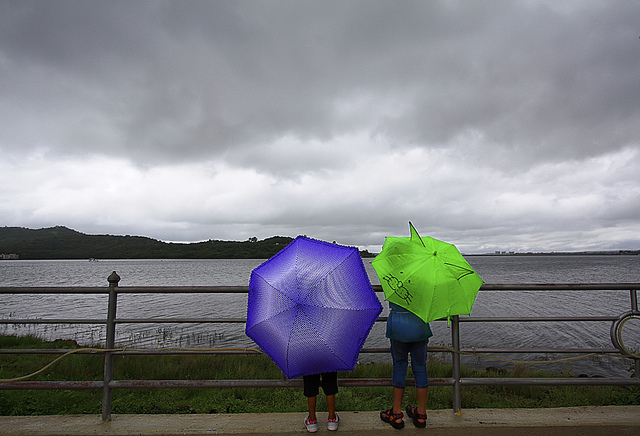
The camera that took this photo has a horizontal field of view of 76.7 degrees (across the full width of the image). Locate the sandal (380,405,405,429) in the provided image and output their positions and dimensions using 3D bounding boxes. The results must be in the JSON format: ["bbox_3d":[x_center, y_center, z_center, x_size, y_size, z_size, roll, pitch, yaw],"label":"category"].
[{"bbox_3d":[1.013,2.785,5.656,0.171,0.165,0.345,6,-3,-25],"label":"sandal"}]

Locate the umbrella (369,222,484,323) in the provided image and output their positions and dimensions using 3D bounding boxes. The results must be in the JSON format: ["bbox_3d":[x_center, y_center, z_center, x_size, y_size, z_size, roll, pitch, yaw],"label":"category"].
[{"bbox_3d":[1.516,0.643,5.662,1.582,1.515,0.700,23,-51,-1],"label":"umbrella"}]

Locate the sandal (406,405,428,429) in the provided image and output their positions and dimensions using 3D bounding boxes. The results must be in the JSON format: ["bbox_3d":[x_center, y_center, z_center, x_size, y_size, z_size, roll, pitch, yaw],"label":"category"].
[{"bbox_3d":[1.363,2.785,5.672,0.150,0.151,0.367,3,2,-6],"label":"sandal"}]
